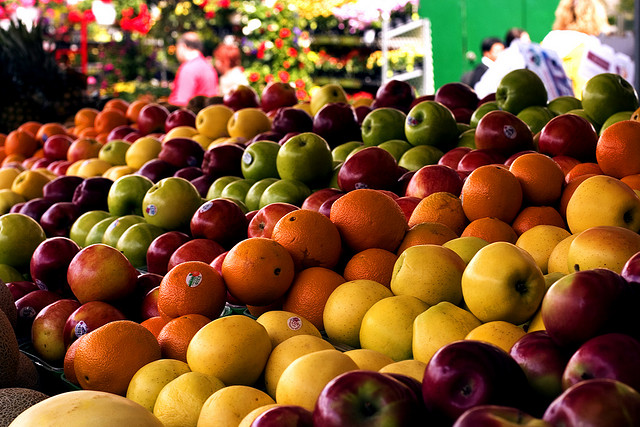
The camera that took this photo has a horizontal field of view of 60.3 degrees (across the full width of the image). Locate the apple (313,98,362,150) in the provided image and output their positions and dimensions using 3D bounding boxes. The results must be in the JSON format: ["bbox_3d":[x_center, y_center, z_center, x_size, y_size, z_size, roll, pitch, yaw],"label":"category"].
[{"bbox_3d":[0.117,-0.562,3.636,0.275,0.371,0.300,-11,9,-19],"label":"apple"}]

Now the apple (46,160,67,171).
[{"bbox_3d":[-2.043,-0.365,4.269,0.101,0.063,0.107,-22,2,25],"label":"apple"}]

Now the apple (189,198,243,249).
[{"bbox_3d":[-0.475,0.020,2.592,0.210,0.250,0.216,-17,25,-26],"label":"apple"}]

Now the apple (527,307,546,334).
[{"bbox_3d":[0.722,0.354,1.851,0.055,0.078,0.041,26,-9,-31],"label":"apple"}]

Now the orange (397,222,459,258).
[{"bbox_3d":[0.437,0.089,2.257,0.156,0.133,0.157,-18,5,29],"label":"orange"}]

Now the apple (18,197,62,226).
[{"bbox_3d":[-1.690,-0.007,3.336,0.194,0.187,0.180,-7,39,-12],"label":"apple"}]

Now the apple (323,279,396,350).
[{"bbox_3d":[0.126,0.399,2.143,0.219,0.293,0.234,18,-23,-6],"label":"apple"}]

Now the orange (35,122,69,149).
[{"bbox_3d":[-2.354,-0.671,4.832,0.189,0.216,0.187,-45,6,3],"label":"orange"}]

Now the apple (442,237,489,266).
[{"bbox_3d":[0.563,0.137,2.123,0.112,0.121,0.129,30,11,32],"label":"apple"}]

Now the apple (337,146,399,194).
[{"bbox_3d":[0.238,-0.232,2.831,0.222,0.250,0.249,-5,28,-23],"label":"apple"}]

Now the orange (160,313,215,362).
[{"bbox_3d":[-0.478,0.428,1.984,0.150,0.171,0.165,9,25,-3],"label":"orange"}]

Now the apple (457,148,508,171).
[{"bbox_3d":[0.839,-0.282,2.823,0.169,0.164,0.147,-5,23,-34],"label":"apple"}]

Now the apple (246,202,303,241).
[{"bbox_3d":[-0.198,0.043,2.434,0.202,0.191,0.181,-18,-16,-22],"label":"apple"}]

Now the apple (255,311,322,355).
[{"bbox_3d":[-0.107,0.418,1.976,0.165,0.146,0.131,11,-30,-7],"label":"apple"}]

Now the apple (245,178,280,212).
[{"bbox_3d":[-0.306,-0.097,3.105,0.154,0.210,0.160,21,-5,-18],"label":"apple"}]

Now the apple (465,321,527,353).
[{"bbox_3d":[0.597,0.415,1.828,0.169,0.112,0.144,0,-6,36],"label":"apple"}]

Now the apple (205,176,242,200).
[{"bbox_3d":[-0.559,-0.134,3.188,0.164,0.154,0.140,-26,8,-21],"label":"apple"}]

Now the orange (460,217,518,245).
[{"bbox_3d":[0.705,0.070,2.243,0.129,0.141,0.131,4,3,-33],"label":"orange"}]

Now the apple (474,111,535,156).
[{"bbox_3d":[0.969,-0.422,2.919,0.266,0.215,0.220,21,60,-2],"label":"apple"}]

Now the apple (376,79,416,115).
[{"bbox_3d":[0.544,-0.813,3.974,0.219,0.270,0.239,16,-3,7],"label":"apple"}]

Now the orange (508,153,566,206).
[{"bbox_3d":[0.987,-0.145,2.493,0.216,0.288,0.212,5,-9,-7],"label":"orange"}]

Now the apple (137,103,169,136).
[{"bbox_3d":[-1.307,-0.752,4.354,0.226,0.183,0.217,10,20,28],"label":"apple"}]

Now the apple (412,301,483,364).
[{"bbox_3d":[0.419,0.405,1.823,0.198,0.193,0.191,-22,39,-10],"label":"apple"}]

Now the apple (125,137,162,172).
[{"bbox_3d":[-1.211,-0.415,3.827,0.230,0.150,0.231,-43,-7,-22],"label":"apple"}]

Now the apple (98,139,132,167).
[{"bbox_3d":[-1.487,-0.443,3.981,0.213,0.209,0.194,-2,22,-16],"label":"apple"}]

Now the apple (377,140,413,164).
[{"bbox_3d":[0.426,-0.342,3.098,0.156,0.110,0.171,1,-3,0],"label":"apple"}]

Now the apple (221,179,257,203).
[{"bbox_3d":[-0.460,-0.137,3.117,0.149,0.097,0.122,-18,12,8],"label":"apple"}]

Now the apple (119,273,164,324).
[{"bbox_3d":[-0.775,0.353,2.345,0.161,0.178,0.165,27,-14,-22],"label":"apple"}]

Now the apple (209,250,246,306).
[{"bbox_3d":[-0.424,0.305,2.291,0.174,0.205,0.195,-6,-28,-23],"label":"apple"}]

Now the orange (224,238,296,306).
[{"bbox_3d":[-0.228,0.217,2.077,0.232,0.264,0.240,0,3,2],"label":"orange"}]

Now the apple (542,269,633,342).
[{"bbox_3d":[0.757,0.241,1.604,0.196,0.163,0.196,-29,-5,6],"label":"apple"}]

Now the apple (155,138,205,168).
[{"bbox_3d":[-0.863,-0.371,3.437,0.285,0.211,0.210,7,3,-25],"label":"apple"}]
